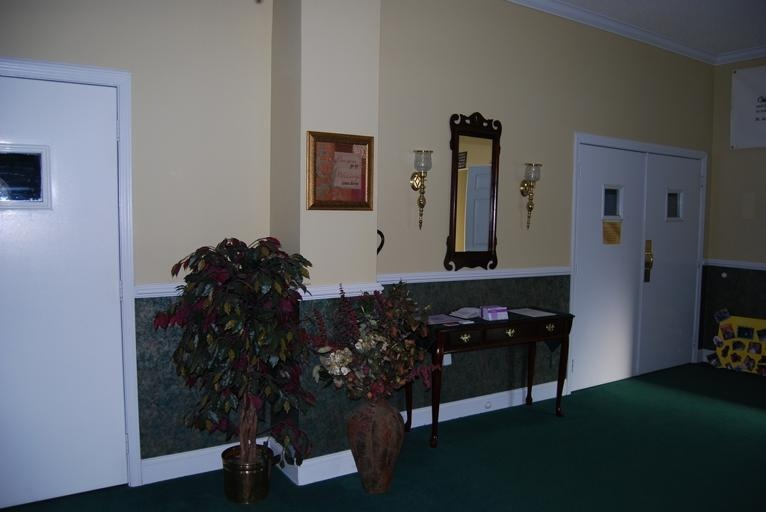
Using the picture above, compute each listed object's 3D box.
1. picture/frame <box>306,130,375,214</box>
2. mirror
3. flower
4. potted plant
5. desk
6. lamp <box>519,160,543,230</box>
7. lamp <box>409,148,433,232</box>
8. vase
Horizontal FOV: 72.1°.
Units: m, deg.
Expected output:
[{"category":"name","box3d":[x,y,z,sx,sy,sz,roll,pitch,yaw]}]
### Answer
[{"category":"picture/frame","box3d":[-0.363,-0.675,4.142,0.615,0.683,0.046,-1,1,-30]},{"category":"mirror","box3d":[0.880,-0.611,5.125,0.687,1.558,0.054,-1,5,-30]},{"category":"flower","box3d":[-0.051,0.627,4.294,0.881,1.234,0.966,0,2,32]},{"category":"potted plant","box3d":[-1.052,0.838,3.961,1.033,1.919,0.697,-1,13,-12]},{"category":"desk","box3d":[1.039,1.120,5.121,1.615,1.126,0.707,-1,5,-27]},{"category":"lamp","box3d":[1.514,-0.620,5.408,0.182,0.663,0.312,10,15,34]},{"category":"lamp","box3d":[0.360,-0.602,4.846,0.233,0.724,0.188,-3,13,-18]},{"category":"vase","box3d":[-0.060,1.449,4.161,0.421,0.737,0.415,2,-4,-33]}]
